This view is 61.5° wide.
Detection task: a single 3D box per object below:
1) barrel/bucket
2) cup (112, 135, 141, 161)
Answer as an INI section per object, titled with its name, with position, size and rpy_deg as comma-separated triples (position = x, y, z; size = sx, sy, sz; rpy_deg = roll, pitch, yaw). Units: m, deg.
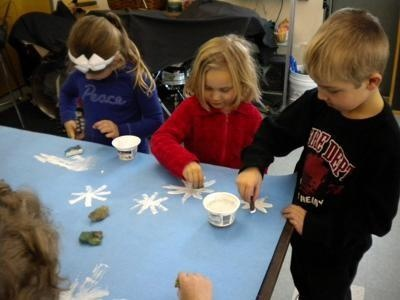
[barrel/bucket]
position = 1.134, -0.705, 3.735
size = 0.300, 0.360, 0.315
rpy_deg = -6, 20, 2
[cup]
position = -0.352, -0.009, 1.611
size = 0.120, 0.081, 0.125
rpy_deg = 3, 32, -2
